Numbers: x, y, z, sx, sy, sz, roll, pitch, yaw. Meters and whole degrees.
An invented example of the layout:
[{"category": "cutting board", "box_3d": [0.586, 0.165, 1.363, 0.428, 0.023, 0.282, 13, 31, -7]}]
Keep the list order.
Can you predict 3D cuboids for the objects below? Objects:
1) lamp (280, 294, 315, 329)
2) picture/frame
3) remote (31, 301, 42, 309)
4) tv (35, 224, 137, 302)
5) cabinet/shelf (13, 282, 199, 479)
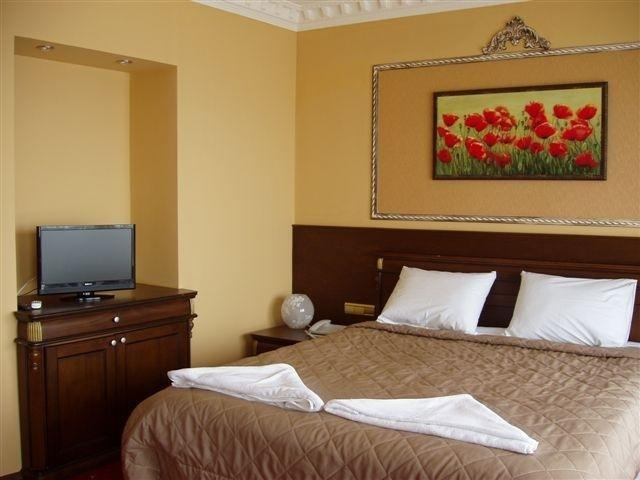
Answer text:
[{"category": "lamp", "box_3d": [-0.243, 0.755, 5.005, 0.375, 0.339, 0.348, 2, 2, 12]}, {"category": "picture/frame", "box_3d": [1.756, -1.091, 4.279, 2.224, 1.602, 0.088, 1, 0, 32]}, {"category": "remote", "box_3d": [-2.007, 0.461, 3.343, 0.068, 0.022, 0.069, -1, 10, -25]}, {"category": "tv", "box_3d": [-1.839, 0.178, 3.699, 0.625, 0.446, 0.160, 0, -2, -40]}, {"category": "cabinet/shelf", "box_3d": [-1.590, 1.025, 3.354, 0.557, 1.207, 1.425, 3, 4, 38]}]
